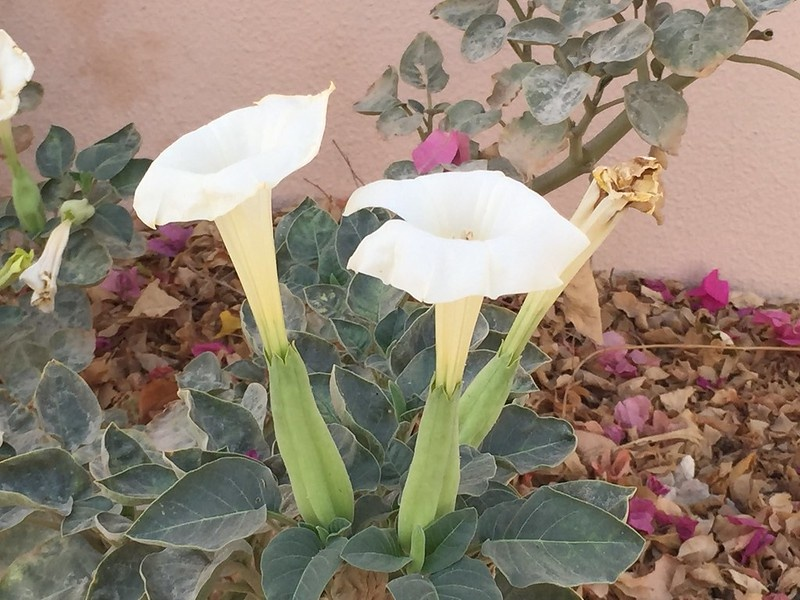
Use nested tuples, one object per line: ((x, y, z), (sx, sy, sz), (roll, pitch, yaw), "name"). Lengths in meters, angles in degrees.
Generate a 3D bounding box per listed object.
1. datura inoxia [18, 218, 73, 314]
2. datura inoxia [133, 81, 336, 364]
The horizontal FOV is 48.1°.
((-0.606, -0.074, 1.603), (0.058, 0.082, 0.188), (5, 62, 13), "datura inoxia")
((-0.214, -0.108, 1.203), (0.221, 0.350, 0.213), (5, 21, 8), "datura inoxia")
